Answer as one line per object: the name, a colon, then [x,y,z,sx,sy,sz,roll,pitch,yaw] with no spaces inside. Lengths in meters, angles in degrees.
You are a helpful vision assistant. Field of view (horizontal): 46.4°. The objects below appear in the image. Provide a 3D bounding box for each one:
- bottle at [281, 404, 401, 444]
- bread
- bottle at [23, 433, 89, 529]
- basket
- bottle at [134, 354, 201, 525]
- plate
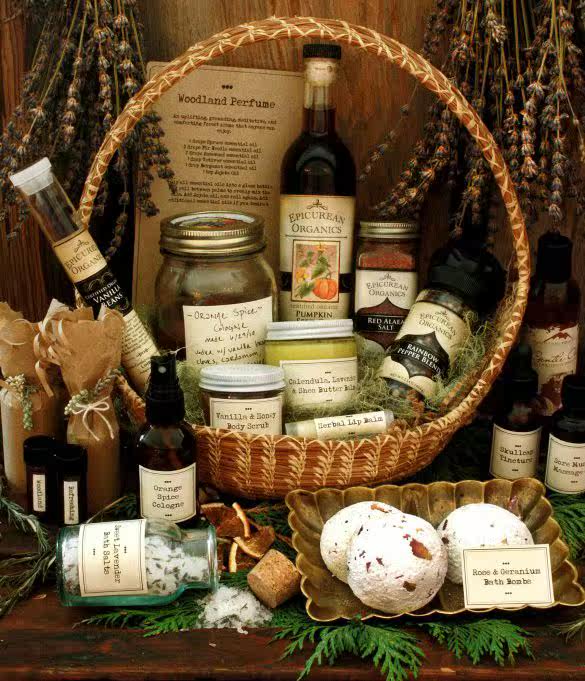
bottle: [0.063,0.104,0.890,0.171,0.045,0.039,-2,58,-4]
bread: [0.126,0.200,0.679,0.169,0.061,0.111,-9,13,-9]
bottle: [-0.279,0.169,0.809,0.115,0.096,0.060,11,14,35]
basket: [0.029,-0.106,0.856,0.421,0.550,0.384,-20,32,-32]
bottle: [-0.145,0.118,0.765,0.071,0.194,0.087,-7,28,-9]
plate: [0.147,0.215,0.770,0.238,0.028,0.148,0,27,-2]
